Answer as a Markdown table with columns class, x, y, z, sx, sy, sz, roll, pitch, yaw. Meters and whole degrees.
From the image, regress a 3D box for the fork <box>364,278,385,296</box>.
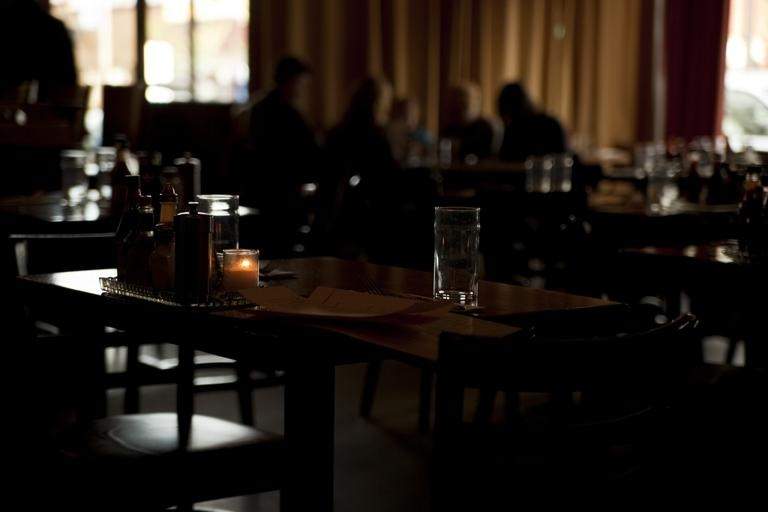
| class | x | y | z | sx | sy | sz | roll | pitch | yaw |
| --- | --- | --- | --- | --- | --- | --- | --- | --- | --- |
| fork | -0.025 | 0.069 | 1.628 | 0.015 | 0.015 | 0.135 | -3 | 18 | -18 |
